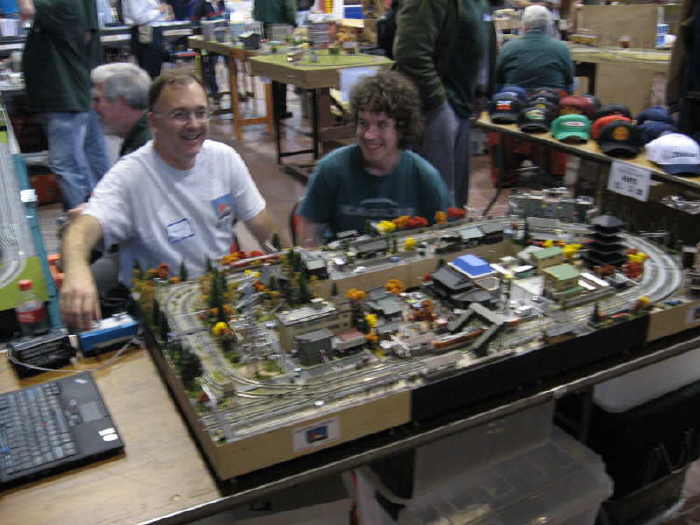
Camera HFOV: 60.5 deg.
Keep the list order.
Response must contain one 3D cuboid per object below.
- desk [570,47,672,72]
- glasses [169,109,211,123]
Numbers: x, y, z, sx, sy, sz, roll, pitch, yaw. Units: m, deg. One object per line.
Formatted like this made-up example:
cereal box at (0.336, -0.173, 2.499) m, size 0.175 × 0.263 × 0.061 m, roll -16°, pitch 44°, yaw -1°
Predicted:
desk at (3.223, -2.460, 7.139) m, size 1.161 × 0.183 × 0.616 m, roll 18°, pitch 38°, yaw 29°
glasses at (-0.861, -0.785, 3.200) m, size 0.208 × 0.084 × 0.063 m, roll -19°, pitch 25°, yaw -33°
